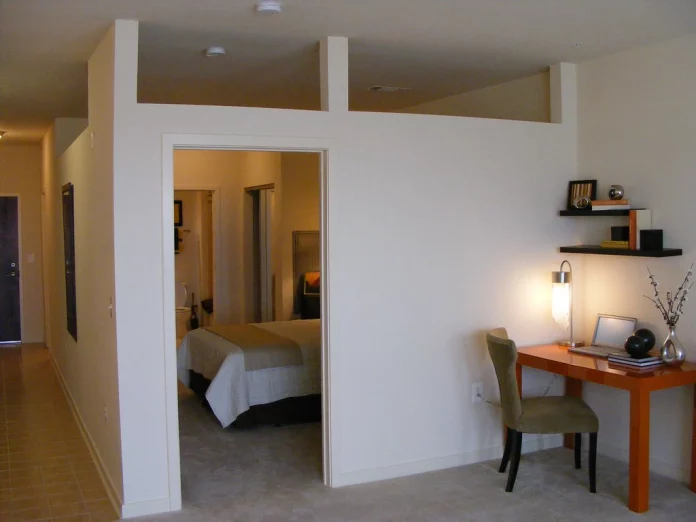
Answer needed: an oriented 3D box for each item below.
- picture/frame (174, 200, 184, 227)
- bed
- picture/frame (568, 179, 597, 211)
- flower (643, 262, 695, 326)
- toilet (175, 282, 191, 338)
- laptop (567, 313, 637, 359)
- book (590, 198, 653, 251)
[{"bbox_3d":[-2.937,-0.824,10.117,0.135,0.474,0.149,-3,6,-16],"label":"picture/frame"},{"bbox_3d":[-0.956,1.129,6.102,1.296,0.753,1.415,-4,7,-27],"label":"bed"},{"bbox_3d":[2.001,-0.555,4.952,0.233,0.341,0.033,8,2,42],"label":"picture/frame"},{"bbox_3d":[2.526,0.299,4.589,0.362,0.534,0.352,2,-4,-25],"label":"flower"},{"bbox_3d":[-2.846,0.879,9.843,0.372,0.863,0.510,-3,8,-17],"label":"toilet"},{"bbox_3d":[2.111,0.600,4.759,0.362,0.251,0.337,-1,4,-33],"label":"laptop"},{"bbox_3d":[2.224,-0.305,4.727,0.222,0.389,0.439,-5,8,-36],"label":"book"}]
